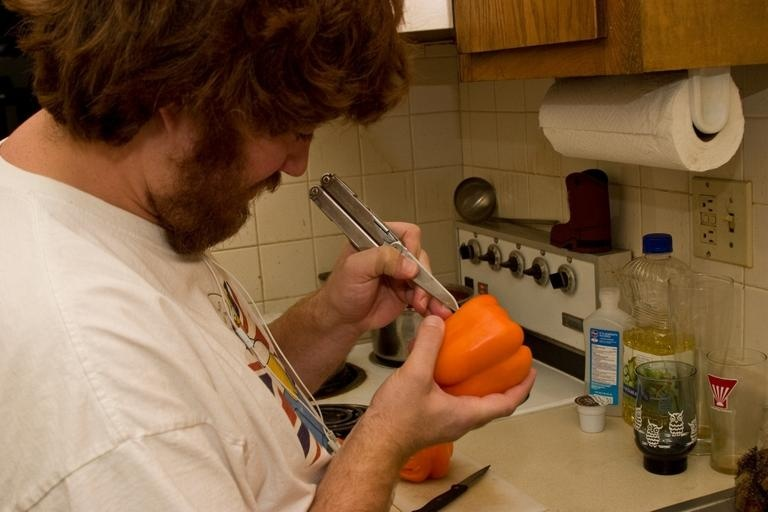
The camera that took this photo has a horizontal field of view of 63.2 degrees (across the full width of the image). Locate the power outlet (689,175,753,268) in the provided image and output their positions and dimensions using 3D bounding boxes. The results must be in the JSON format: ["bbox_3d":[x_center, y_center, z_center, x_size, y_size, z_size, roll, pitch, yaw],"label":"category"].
[{"bbox_3d":[0.733,-0.076,1.359,0.017,0.182,0.153,-8,16,-23],"label":"power outlet"}]

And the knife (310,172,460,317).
[{"bbox_3d":[-0.012,-0.042,1.574,0.104,0.545,0.050,-38,9,32],"label":"knife"}]

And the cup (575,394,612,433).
[{"bbox_3d":[0.480,0.365,1.439,0.069,0.065,0.075,-1,-1,0],"label":"cup"}]
